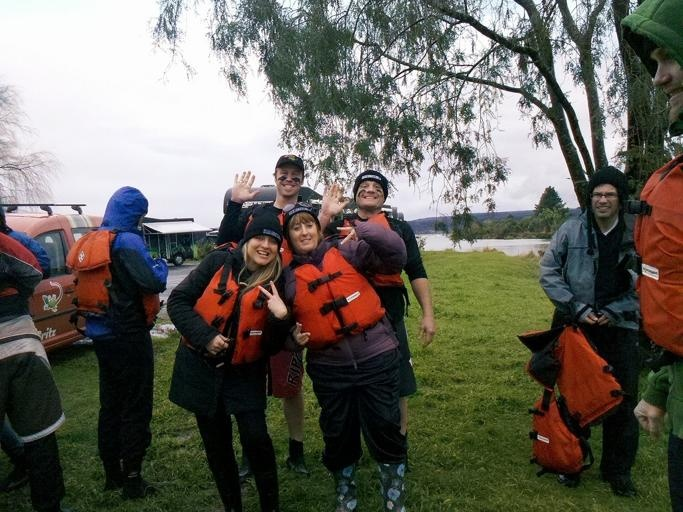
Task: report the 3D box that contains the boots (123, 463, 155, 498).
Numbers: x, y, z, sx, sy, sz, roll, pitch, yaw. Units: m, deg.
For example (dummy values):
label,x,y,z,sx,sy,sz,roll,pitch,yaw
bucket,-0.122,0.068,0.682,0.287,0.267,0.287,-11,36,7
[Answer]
label,x,y,z,sx,sy,sz,roll,pitch,yaw
boots,-1.704,1.891,4.198,0.132,0.325,0.320,-19,-25,35

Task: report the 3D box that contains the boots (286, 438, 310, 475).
label,x,y,z,sx,sy,sz,roll,pitch,yaw
boots,-0.383,1.804,4.498,0.140,0.288,0.353,2,0,-33

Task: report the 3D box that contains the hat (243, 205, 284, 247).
label,x,y,z,sx,sy,sz,roll,pitch,yaw
hat,-0.595,-0.239,3.896,0.253,0.315,0.363,13,-20,-22

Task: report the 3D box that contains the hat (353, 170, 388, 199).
label,x,y,z,sx,sy,sz,roll,pitch,yaw
hat,0.255,-0.632,4.402,0.302,0.246,0.221,-1,8,0

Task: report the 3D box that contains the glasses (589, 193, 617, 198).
label,x,y,z,sx,sy,sz,roll,pitch,yaw
glasses,2.246,-0.511,4.282,0.184,0.045,0.046,4,9,27

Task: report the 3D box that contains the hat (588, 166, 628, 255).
label,x,y,z,sx,sy,sz,roll,pitch,yaw
hat,2.276,-0.367,4.271,0.286,0.748,0.366,1,4,-44

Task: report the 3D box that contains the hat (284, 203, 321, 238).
label,x,y,z,sx,sy,sz,roll,pitch,yaw
hat,-0.317,-0.279,3.914,0.278,0.268,0.167,-2,8,-8
